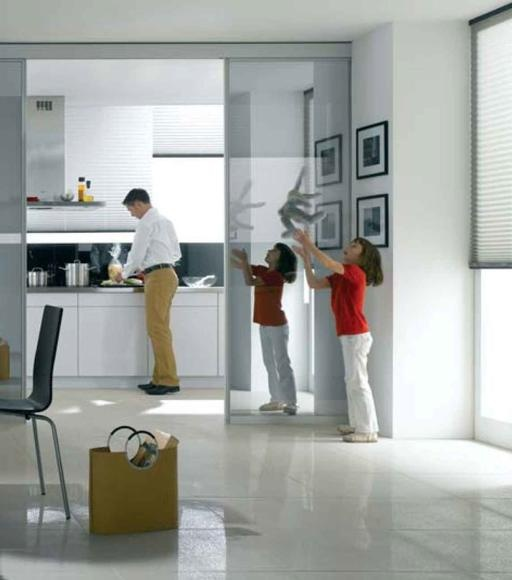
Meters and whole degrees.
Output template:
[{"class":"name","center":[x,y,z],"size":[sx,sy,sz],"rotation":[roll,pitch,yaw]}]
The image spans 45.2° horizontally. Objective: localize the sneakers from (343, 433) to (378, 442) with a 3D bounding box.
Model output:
[{"class":"sneakers","center":[0.608,0.873,3.621],"size":[0.184,0.088,0.074],"rotation":[2,-3,-3]}]

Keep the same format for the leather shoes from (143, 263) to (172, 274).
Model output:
[{"class":"leather shoes","center":[-0.773,-0.165,4.909],"size":[0.222,0.092,0.133],"rotation":[0,1,-13]}]

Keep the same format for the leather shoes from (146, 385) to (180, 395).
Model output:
[{"class":"leather shoes","center":[-0.734,0.776,4.931],"size":[0.244,0.122,0.096],"rotation":[5,-5,-13]}]

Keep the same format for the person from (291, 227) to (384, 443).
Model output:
[{"class":"person","center":[0.503,0.273,3.722],"size":[0.495,1.241,0.377],"rotation":[1,1,13]}]

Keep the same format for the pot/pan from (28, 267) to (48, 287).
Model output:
[{"class":"pot/pan","center":[-1.915,-0.106,5.470],"size":[0.155,0.176,0.150],"rotation":[1,-2,-12]}]

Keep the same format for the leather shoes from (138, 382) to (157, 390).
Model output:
[{"class":"leather shoes","center":[-0.885,0.787,5.043],"size":[0.167,0.090,0.061],"rotation":[4,-2,3]}]

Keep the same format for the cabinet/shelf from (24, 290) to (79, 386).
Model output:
[{"class":"cabinet/shelf","center":[-1.642,0.401,5.232],"size":[0.337,0.530,0.267],"rotation":[3,-7,36]}]

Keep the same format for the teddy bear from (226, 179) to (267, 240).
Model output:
[{"class":"teddy bear","center":[-0.094,-0.523,3.954],"size":[0.242,0.356,0.100],"rotation":[12,12,9]}]

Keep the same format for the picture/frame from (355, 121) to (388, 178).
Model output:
[{"class":"picture/frame","center":[0.712,-0.861,3.837],"size":[0.236,0.315,0.014],"rotation":[-15,21,-25]}]

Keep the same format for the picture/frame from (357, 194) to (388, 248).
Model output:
[{"class":"picture/frame","center":[0.717,-0.423,3.830],"size":[0.011,0.312,0.240],"rotation":[-2,3,-40]}]

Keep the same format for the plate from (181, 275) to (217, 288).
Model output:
[{"class":"plate","center":[-0.516,-0.090,5.864],"size":[0.339,0.099,0.212],"rotation":[0,1,-20]}]

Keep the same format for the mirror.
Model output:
[{"class":"mirror","center":[0.209,-0.311,4.100],"size":[0.772,2.475,0.035],"rotation":[1,14,6]}]

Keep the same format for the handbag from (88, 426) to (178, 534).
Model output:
[{"class":"handbag","center":[-0.462,0.738,2.354],"size":[0.353,0.445,0.229],"rotation":[1,-4,-20]}]

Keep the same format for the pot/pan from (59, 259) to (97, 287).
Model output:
[{"class":"pot/pan","center":[-1.577,-0.083,5.553],"size":[0.317,0.261,0.204],"rotation":[0,-1,-26]}]

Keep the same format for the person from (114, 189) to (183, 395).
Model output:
[{"class":"person","center":[-0.839,0.010,4.986],"size":[0.453,1.653,0.368],"rotation":[0,1,-8]}]

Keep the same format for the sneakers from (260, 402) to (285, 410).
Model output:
[{"class":"sneakers","center":[0.110,0.751,4.041],"size":[0.147,0.073,0.057],"rotation":[2,-3,-1]}]
